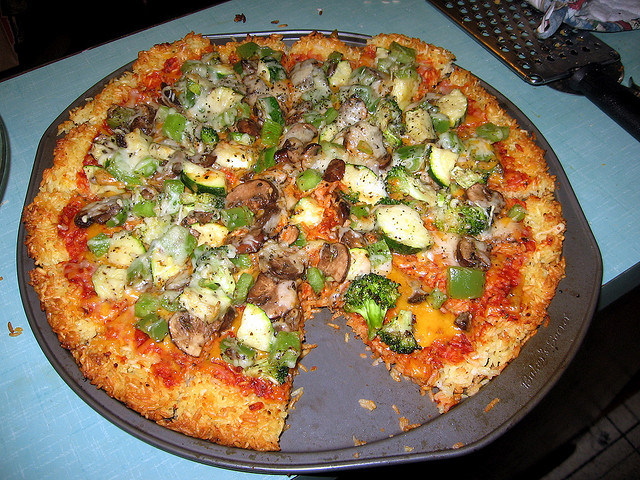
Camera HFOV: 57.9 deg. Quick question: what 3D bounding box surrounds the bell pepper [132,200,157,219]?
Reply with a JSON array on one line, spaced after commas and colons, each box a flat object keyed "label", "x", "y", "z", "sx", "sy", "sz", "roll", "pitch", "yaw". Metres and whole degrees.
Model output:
[{"label": "bell pepper", "x": -2.001, "y": -0.336, "z": 6.670, "sx": 0.278, "sy": 0.153, "sz": 0.223, "roll": -8, "pitch": 70, "yaw": -3}]

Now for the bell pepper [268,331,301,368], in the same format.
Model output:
[{"label": "bell pepper", "x": -0.362, "y": 1.173, "z": 6.265, "sx": 0.291, "sy": 0.128, "sz": 0.439, "roll": 18, "pitch": 71, "yaw": 6}]

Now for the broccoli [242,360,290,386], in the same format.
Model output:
[{"label": "broccoli", "x": -0.577, "y": 1.429, "z": 6.238, "sx": 0.301, "sy": 0.080, "sz": 0.298, "roll": 40, "pitch": 110, "yaw": -14}]

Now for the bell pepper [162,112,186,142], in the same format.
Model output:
[{"label": "bell pepper", "x": -1.761, "y": -1.377, "z": 7.056, "sx": 0.267, "sy": 0.090, "sz": 0.320, "roll": 17, "pitch": 71, "yaw": 6}]

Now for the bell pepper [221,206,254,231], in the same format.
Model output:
[{"label": "bell pepper", "x": -0.937, "y": -0.253, "z": 6.634, "sx": 0.368, "sy": 0.138, "sz": 0.227, "roll": -14, "pitch": 71, "yaw": -5}]

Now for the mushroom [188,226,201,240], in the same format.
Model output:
[{"label": "mushroom", "x": -1.414, "y": -0.079, "z": 6.518, "sx": 0.071, "sy": 0.039, "sz": 0.138, "roll": -44, "pitch": 92, "yaw": -12}]

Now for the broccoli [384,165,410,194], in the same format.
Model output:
[{"label": "broccoli", "x": 0.859, "y": -0.705, "z": 6.869, "sx": 0.104, "sy": 0.361, "sz": 0.300, "roll": -16, "pitch": 90, "yaw": 9}]

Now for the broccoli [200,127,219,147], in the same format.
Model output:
[{"label": "broccoli", "x": -1.325, "y": -1.250, "z": 7.022, "sx": 0.212, "sy": 0.123, "sz": 0.206, "roll": 3, "pitch": 70, "yaw": 1}]

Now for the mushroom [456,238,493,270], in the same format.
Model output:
[{"label": "mushroom", "x": 1.699, "y": 0.180, "z": 6.366, "sx": 0.324, "sy": 0.121, "sz": 0.311, "roll": -19, "pitch": 83, "yaw": -18}]

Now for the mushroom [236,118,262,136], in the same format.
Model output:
[{"label": "mushroom", "x": -0.877, "y": -1.382, "z": 7.111, "sx": 0.250, "sy": 0.096, "sz": 0.185, "roll": 13, "pitch": 73, "yaw": -3}]

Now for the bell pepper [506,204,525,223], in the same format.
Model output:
[{"label": "bell pepper", "x": 2.285, "y": -0.313, "z": 6.738, "sx": 0.181, "sy": 0.096, "sz": 0.192, "roll": 26, "pitch": 72, "yaw": 9}]

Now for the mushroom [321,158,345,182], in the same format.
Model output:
[{"label": "mushroom", "x": 0.187, "y": -0.798, "z": 6.748, "sx": 0.219, "sy": 0.099, "sz": 0.293, "roll": 28, "pitch": 72, "yaw": 10}]

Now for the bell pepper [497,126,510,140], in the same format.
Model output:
[{"label": "bell pepper", "x": 2.261, "y": -1.332, "z": 7.121, "sx": 0.158, "sy": 0.091, "sz": 0.180, "roll": 1, "pitch": 70, "yaw": 0}]

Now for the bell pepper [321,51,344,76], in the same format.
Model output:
[{"label": "bell pepper", "x": 0.165, "y": -2.338, "z": 7.522, "sx": 0.218, "sy": 0.089, "sz": 0.350, "roll": 33, "pitch": 79, "yaw": 9}]

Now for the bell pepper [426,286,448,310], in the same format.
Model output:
[{"label": "bell pepper", "x": 1.296, "y": 0.652, "z": 6.413, "sx": 0.191, "sy": 0.125, "sz": 0.197, "roll": 41, "pitch": 75, "yaw": 13}]

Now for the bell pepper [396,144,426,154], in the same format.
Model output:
[{"label": "bell pepper", "x": 1.083, "y": -1.092, "z": 6.930, "sx": 0.338, "sy": 0.109, "sz": 0.113, "roll": -8, "pitch": 70, "yaw": -3}]

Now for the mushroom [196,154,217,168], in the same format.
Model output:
[{"label": "mushroom", "x": -1.313, "y": -0.928, "z": 6.823, "sx": 0.125, "sy": 0.045, "sz": 0.223, "roll": 33, "pitch": 73, "yaw": 11}]

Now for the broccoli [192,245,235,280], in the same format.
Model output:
[{"label": "broccoli", "x": -1.135, "y": 0.235, "z": 6.445, "sx": 0.385, "sy": 0.120, "sz": 0.394, "roll": 18, "pitch": 71, "yaw": 6}]

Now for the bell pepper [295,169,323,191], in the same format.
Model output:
[{"label": "bell pepper", "x": -0.121, "y": -0.708, "z": 6.762, "sx": 0.312, "sy": 0.107, "sz": 0.212, "roll": -33, "pitch": 73, "yaw": -11}]

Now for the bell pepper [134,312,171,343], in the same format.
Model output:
[{"label": "bell pepper", "x": -1.818, "y": 0.931, "z": 6.323, "sx": 0.369, "sy": 0.147, "sz": 0.254, "roll": 34, "pitch": 74, "yaw": 11}]

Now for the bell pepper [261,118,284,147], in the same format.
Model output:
[{"label": "bell pepper", "x": -0.595, "y": -1.309, "z": 7.111, "sx": 0.256, "sy": 0.115, "sz": 0.330, "roll": 16, "pitch": 71, "yaw": 6}]

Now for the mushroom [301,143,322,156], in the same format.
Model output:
[{"label": "mushroom", "x": -0.090, "y": -1.073, "z": 6.873, "sx": 0.237, "sy": 0.065, "sz": 0.148, "roll": 0, "pitch": 70, "yaw": 0}]

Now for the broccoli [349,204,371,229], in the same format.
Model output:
[{"label": "broccoli", "x": 0.440, "y": -0.269, "z": 6.537, "sx": 0.253, "sy": 0.089, "sz": 0.240, "roll": 7, "pitch": 86, "yaw": 1}]

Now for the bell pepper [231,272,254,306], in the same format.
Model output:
[{"label": "bell pepper", "x": -0.828, "y": 0.551, "z": 6.482, "sx": 0.187, "sy": 0.121, "sz": 0.348, "roll": 23, "pitch": 82, "yaw": 26}]
